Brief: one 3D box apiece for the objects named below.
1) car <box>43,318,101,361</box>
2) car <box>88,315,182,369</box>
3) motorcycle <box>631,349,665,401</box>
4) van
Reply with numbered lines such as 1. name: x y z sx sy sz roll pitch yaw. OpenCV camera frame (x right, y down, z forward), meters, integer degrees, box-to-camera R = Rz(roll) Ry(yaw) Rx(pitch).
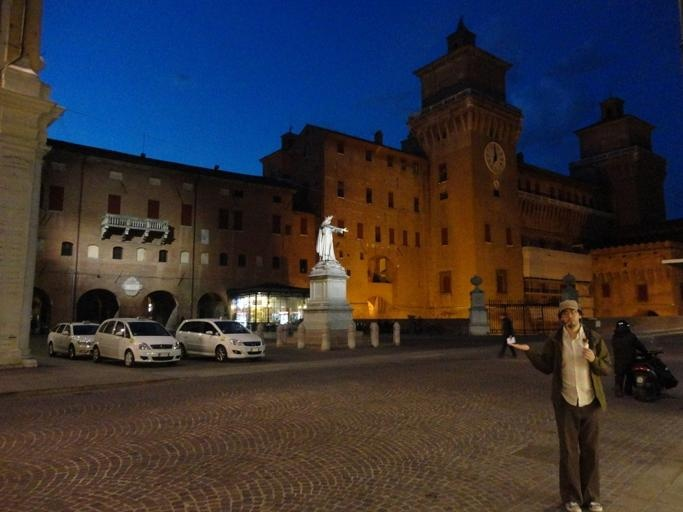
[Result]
1. car: -10.133 3.211 23.543 1.357 1.103 2.315 7 -13 -40
2. car: -6.845 2.873 20.634 1.573 1.212 2.717 7 -11 -40
3. motorcycle: 6.604 2.614 13.440 0.642 0.981 0.983 -6 -8 39
4. van: -4.345 3.095 22.672 1.616 1.232 2.786 8 -12 -42
